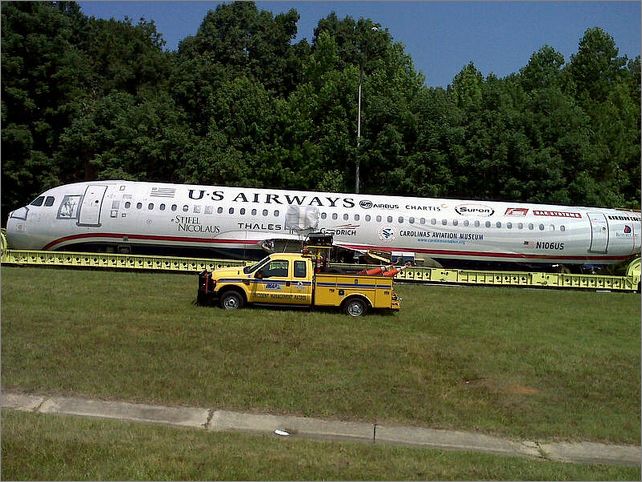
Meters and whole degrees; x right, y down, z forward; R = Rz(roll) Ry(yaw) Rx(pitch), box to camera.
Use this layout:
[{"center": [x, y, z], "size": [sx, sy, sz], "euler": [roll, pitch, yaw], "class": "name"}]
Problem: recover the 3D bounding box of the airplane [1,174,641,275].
[{"center": [0.877, -0.773, 37.319], "size": [43.302, 5.401, 4.917], "euler": [1, -16, -4], "class": "airplane"}]
